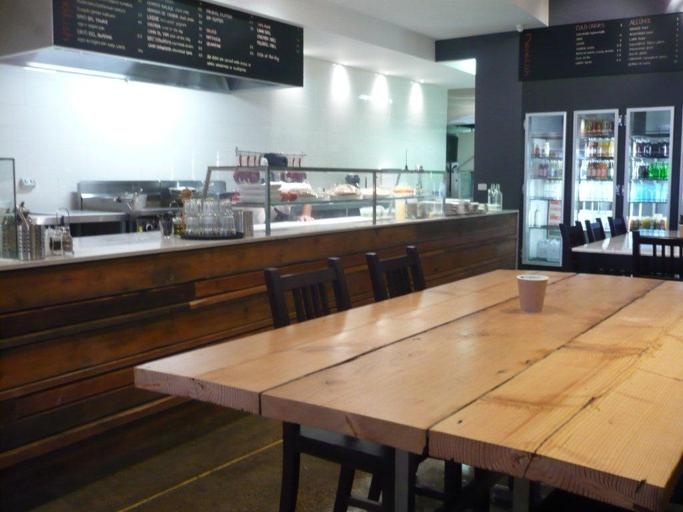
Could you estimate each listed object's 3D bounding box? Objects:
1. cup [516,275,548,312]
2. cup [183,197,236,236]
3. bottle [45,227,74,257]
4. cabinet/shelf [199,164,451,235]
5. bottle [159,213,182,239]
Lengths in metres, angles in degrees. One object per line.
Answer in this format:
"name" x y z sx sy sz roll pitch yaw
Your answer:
"cup" 0.687 0.129 1.817 0.124 0.130 0.123 -1 7 0
"cup" -0.839 -0.234 3.098 0.241 0.188 0.250 0 4 0
"bottle" -1.357 -0.061 2.380 0.133 0.141 0.245 2 -1 -15
"cabinet/shelf" -0.026 -0.473 3.914 0.607 0.453 2.371 10 13 42
"bottle" -1.083 -0.183 3.136 0.136 0.128 0.162 -3 11 -23
